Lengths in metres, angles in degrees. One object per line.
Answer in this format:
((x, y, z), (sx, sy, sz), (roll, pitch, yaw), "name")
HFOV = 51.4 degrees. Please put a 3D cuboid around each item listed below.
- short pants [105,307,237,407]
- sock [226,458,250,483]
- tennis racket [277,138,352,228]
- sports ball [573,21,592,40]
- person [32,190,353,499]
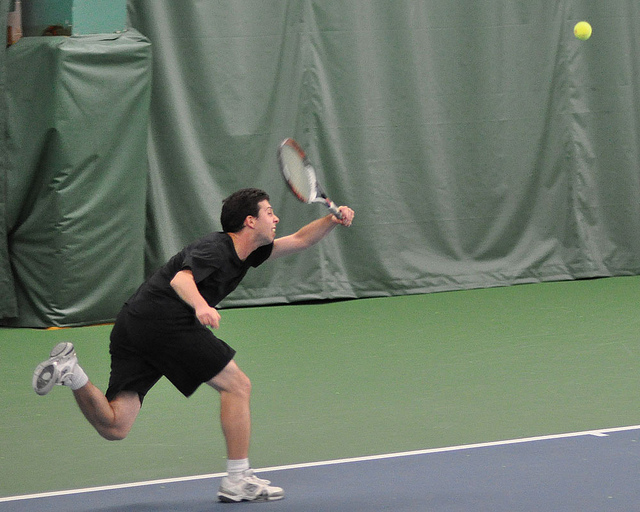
((-0.711, 0.396, 2.973), (0.658, 0.542, 0.328), (-11, -5, 25), "short pants")
((-0.345, 0.885, 2.762), (0.096, 0.098, 0.078), (-2, -2, 29), "sock")
((-0.105, -0.434, 3.592), (0.032, 0.236, 0.589), (-28, 55, -29), "tennis racket")
((2.870, -2.455, 7.210), (0.205, 0.177, 0.127), (-4, 9, -15), "sports ball")
((-0.551, 0.381, 3.046), (0.911, 1.346, 1.193), (1, 9, 16), "person")
